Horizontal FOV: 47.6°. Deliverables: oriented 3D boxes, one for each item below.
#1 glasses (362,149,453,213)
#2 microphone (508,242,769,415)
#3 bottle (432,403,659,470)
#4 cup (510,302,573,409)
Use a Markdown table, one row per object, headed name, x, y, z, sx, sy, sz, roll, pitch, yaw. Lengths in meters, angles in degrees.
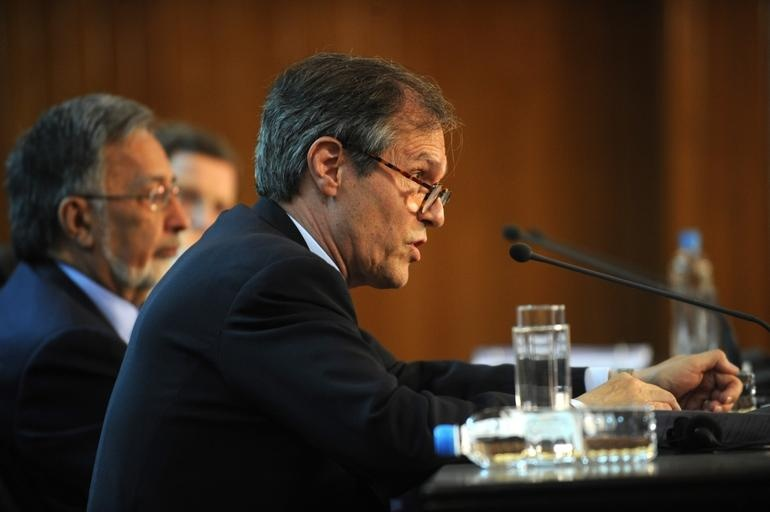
| name | x | y | z | sx | sy | sz | roll | pitch | yaw |
| --- | --- | --- | --- | --- | --- | --- | --- | --- | --- |
| glasses | 0.084 | -0.264 | 3.164 | 0.235 | 0.072 | 0.227 | 31 | -2 | 14 |
| microphone | 1.443 | 0.363 | 4.844 | 2.215 | 0.315 | 0.296 | 17 | -12 | 4 |
| bottle | 0.488 | 0.534 | 2.627 | 0.692 | 0.203 | 0.205 | -1 | -4 | -4 |
| cup | 0.508 | 0.321 | 2.831 | 0.186 | 0.347 | 0.379 | -3 | -10 | 8 |
